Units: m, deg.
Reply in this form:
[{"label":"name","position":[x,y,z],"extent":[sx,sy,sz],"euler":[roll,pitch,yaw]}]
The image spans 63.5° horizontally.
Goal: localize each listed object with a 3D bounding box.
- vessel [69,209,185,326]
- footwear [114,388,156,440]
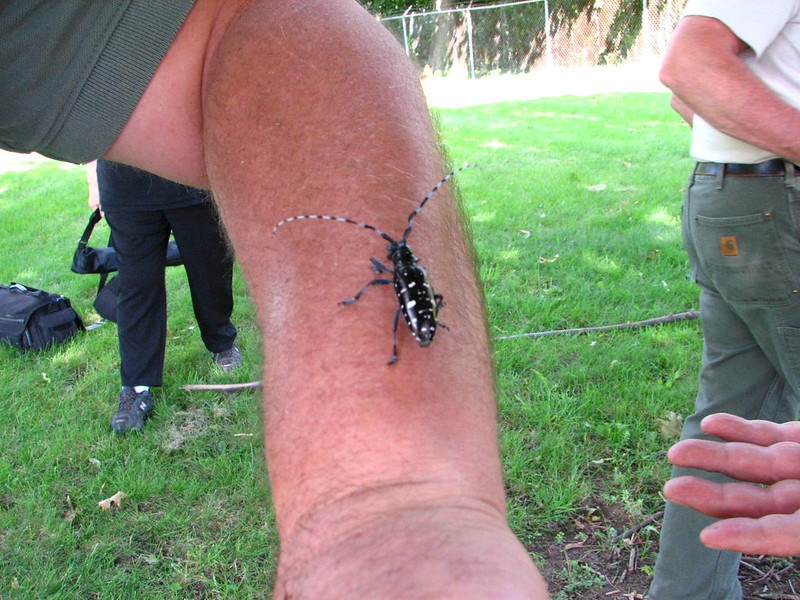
[{"label":"vessel","position":[-3.027,-0.384,7.280],"extent":[1.153,1.127,0.909],"euler":[7,17,19]},{"label":"footwear","position":[-2.419,1.006,5.887],"extent":[0.301,0.267,0.431],"euler":[-3,20,-4]}]
